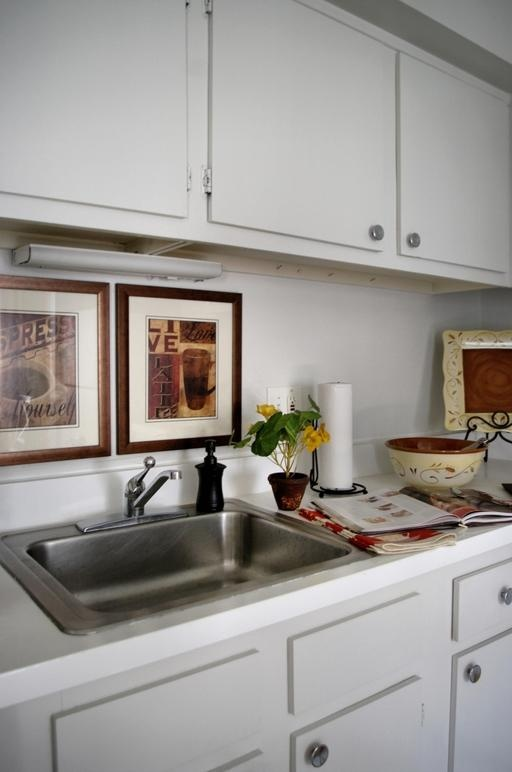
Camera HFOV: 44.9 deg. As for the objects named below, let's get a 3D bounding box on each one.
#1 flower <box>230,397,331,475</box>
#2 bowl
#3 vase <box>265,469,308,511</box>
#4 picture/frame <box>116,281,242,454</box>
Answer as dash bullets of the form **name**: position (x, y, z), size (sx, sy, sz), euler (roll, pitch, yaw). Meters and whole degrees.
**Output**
- **flower**: position (0.071, 0.141, 1.536), size (0.216, 0.194, 0.324), euler (-1, 4, 3)
- **bowl**: position (0.481, 0.202, 1.589), size (0.187, 0.098, 0.192), euler (7, 5, -1)
- **vase**: position (0.068, 0.228, 1.377), size (0.084, 0.066, 0.082), euler (1, 0, 5)
- **picture/frame**: position (-0.190, -0.041, 1.426), size (0.408, 0.466, 0.023), euler (-3, 4, -40)
